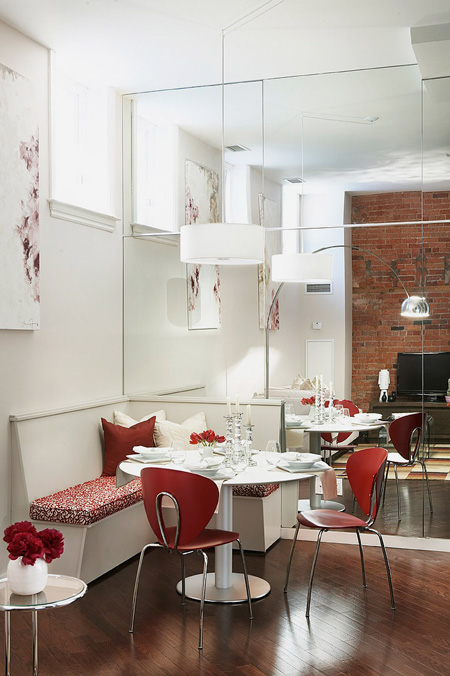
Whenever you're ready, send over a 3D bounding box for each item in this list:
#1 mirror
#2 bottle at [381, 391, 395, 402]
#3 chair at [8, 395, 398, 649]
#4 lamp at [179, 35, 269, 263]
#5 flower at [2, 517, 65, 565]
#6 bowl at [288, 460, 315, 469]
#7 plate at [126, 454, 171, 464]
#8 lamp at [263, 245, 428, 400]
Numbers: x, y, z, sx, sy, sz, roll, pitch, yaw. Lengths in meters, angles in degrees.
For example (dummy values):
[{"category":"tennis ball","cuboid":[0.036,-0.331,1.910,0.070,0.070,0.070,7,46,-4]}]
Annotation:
[{"category":"mirror","cuboid":[0.481,-0.215,3.378,2.801,3.313,0.032,1,1,28]},{"category":"bottle","cuboid":[1.061,0.387,3.360,0.073,0.066,0.053,0,0,9]},{"category":"chair","cuboid":[-0.314,0.839,3.093,1.637,1.055,1.642,-2,-8,10]},{"category":"lamp","cuboid":[0.004,-1.120,2.901,0.389,1.666,1.044,-1,-7,3]},{"category":"flower","cuboid":[-0.545,0.558,1.459,0.131,0.101,0.134,24,16,40]},{"category":"bowl","cuboid":[0.349,0.589,2.381,0.108,0.033,0.100,0,-8,0]},{"category":"plate","cuboid":[-0.382,0.617,2.610,0.136,0.031,0.257,6,-11,-37]},{"category":"lamp","cuboid":[0.859,-0.355,4.013,1.184,1.424,0.435,0,1,15]}]
